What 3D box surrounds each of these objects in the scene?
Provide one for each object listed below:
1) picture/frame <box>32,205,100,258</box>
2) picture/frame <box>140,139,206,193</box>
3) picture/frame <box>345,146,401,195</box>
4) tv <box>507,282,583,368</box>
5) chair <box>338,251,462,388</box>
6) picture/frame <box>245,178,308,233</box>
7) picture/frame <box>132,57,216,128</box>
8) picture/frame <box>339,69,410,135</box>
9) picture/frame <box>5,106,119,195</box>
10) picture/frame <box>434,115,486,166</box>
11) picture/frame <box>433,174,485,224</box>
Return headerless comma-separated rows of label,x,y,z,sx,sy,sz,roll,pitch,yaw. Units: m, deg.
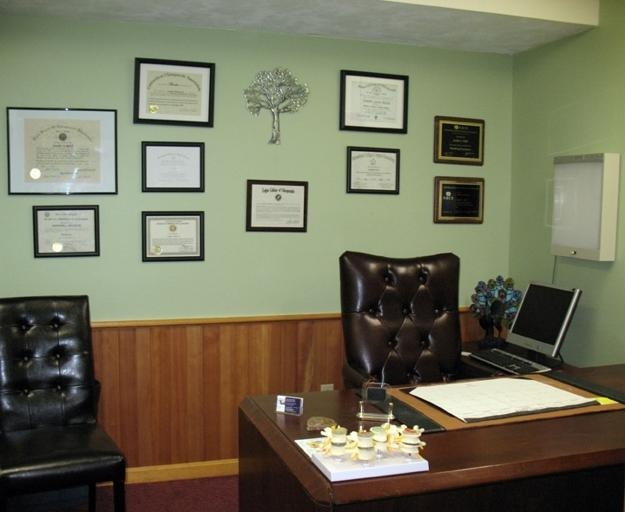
picture/frame,-1.483,-0.152,3.179,0.313,0.269,0.022,0,2,-14
picture/frame,-0.878,-0.557,3.294,0.335,0.282,0.022,-1,4,-12
picture/frame,0.389,-0.579,3.596,0.336,0.284,0.023,1,1,-18
tv,1.314,0.392,3.053,0.285,0.535,0.446,11,-2,-22
chair,0.309,0.345,3.028,0.581,0.853,0.702,0,-6,-11
picture/frame,-0.251,-0.331,3.460,0.346,0.292,0.026,1,1,-13
picture/frame,-0.867,-1.000,3.261,0.445,0.368,0.036,1,7,-14
picture/frame,0.387,-1.027,3.564,0.449,0.377,0.035,0,4,-13
picture/frame,-1.505,-0.627,3.150,0.526,0.451,0.019,-1,5,-9
picture/frame,1.009,-0.805,3.734,0.347,0.304,0.036,3,-3,-20
picture/frame,1.012,-0.405,3.763,0.343,0.295,0.034,1,1,-16
